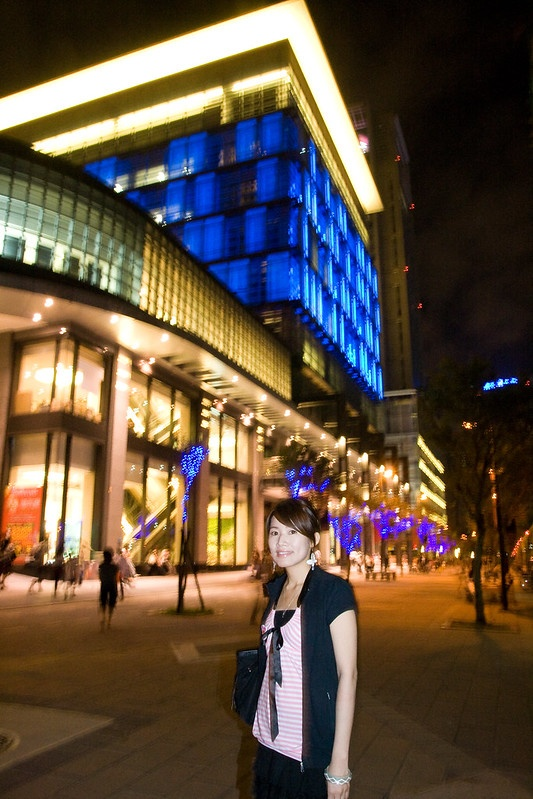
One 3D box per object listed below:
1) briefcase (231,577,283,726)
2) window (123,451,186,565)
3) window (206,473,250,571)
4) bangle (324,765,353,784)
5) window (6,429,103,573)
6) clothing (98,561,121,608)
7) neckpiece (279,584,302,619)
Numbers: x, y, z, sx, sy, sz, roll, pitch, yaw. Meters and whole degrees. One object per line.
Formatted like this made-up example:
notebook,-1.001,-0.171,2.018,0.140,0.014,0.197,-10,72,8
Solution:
briefcase,-0.021,0.997,2.401,0.232,0.463,0.218,-8,-13,30
window,-5.779,5.362,31.080,3.580,5.205,1.495,9,5,43
window,-2.123,8.022,40.433,0.200,5.831,5.821,-10,-18,33
bangle,0.234,1.224,1.992,0.084,0.057,0.117,0,-11,3
window,-8.853,3.939,24.931,3.511,5.151,2.150,4,-12,-18
clothing,-3.146,3.654,12.138,0.333,0.878,0.852,4,-12,-17
neckpiece,0.095,0.740,2.233,0.064,0.063,0.115,-17,22,33
